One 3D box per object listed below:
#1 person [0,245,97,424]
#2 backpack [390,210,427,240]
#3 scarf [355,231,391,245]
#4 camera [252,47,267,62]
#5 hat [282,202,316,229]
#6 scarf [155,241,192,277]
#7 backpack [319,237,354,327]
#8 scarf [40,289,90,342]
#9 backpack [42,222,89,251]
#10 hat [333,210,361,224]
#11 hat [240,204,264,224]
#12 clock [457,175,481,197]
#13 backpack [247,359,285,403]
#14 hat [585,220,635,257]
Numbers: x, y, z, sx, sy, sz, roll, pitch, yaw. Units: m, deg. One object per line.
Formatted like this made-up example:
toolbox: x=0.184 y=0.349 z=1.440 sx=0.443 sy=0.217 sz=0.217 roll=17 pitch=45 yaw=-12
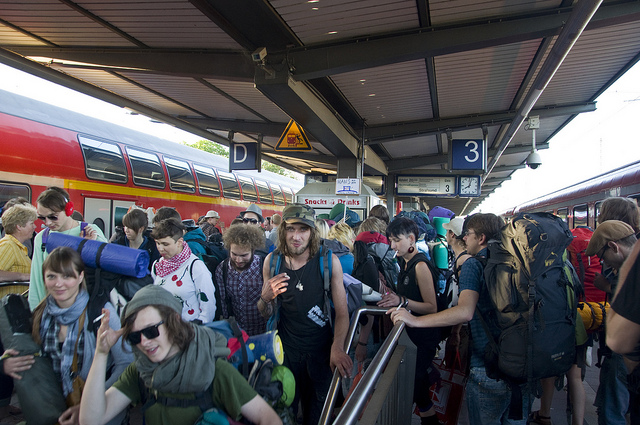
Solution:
person: x=-2.868 y=1.294 z=4.999 sx=0.827 sy=2.049 sz=0.359 roll=5 pitch=-2 yaw=3
backpack: x=1.237 y=0.188 z=6.414 sx=0.402 sy=0.370 sz=0.305 roll=38 pitch=-23 yaw=-23
scarf: x=0.750 y=0.371 z=6.761 sx=0.212 sy=0.096 sz=0.291 roll=17 pitch=-10 yaw=-38
camera: x=-1.045 y=-2.716 z=7.993 sx=0.190 sy=0.165 sz=0.347 roll=1 pitch=27 yaw=11
hat: x=-0.255 y=0.023 z=5.611 sx=0.405 sy=0.260 sz=0.521 roll=3 pitch=-1 yaw=-15
scarf: x=-1.967 y=0.634 z=6.154 sx=0.220 sy=0.430 sz=0.357 roll=26 pitch=-13 yaw=-37
backpack: x=0.131 y=0.852 z=5.730 sx=0.425 sy=0.843 sz=0.671 roll=5 pitch=-2 yaw=10
scarf: x=-2.770 y=1.076 z=5.096 sx=0.407 sy=0.546 sz=0.517 roll=7 pitch=-3 yaw=-6
backpack: x=-3.389 y=0.308 z=6.087 sx=0.317 sy=0.392 sz=0.821 roll=5 pitch=-2 yaw=-1
hat: x=0.565 y=0.086 z=9.436 sx=0.472 sy=0.219 sz=0.970 roll=5 pitch=-2 yaw=3
hat: x=-1.197 y=0.015 z=8.329 sx=0.295 sy=0.284 sz=0.372 roll=5 pitch=-2 yaw=11
clock: x=5.472 y=-0.975 z=16.978 sx=0.747 sy=0.760 sz=0.135 roll=-9 pitch=-18 yaw=31
backpack: x=-0.554 y=1.727 z=4.766 sx=0.383 sy=0.380 sz=0.151 roll=40 pitch=-35 yaw=-24
hat: x=3.045 y=0.240 z=4.960 sx=0.472 sy=0.249 sz=0.349 roll=-21 pitch=-6 yaw=21
